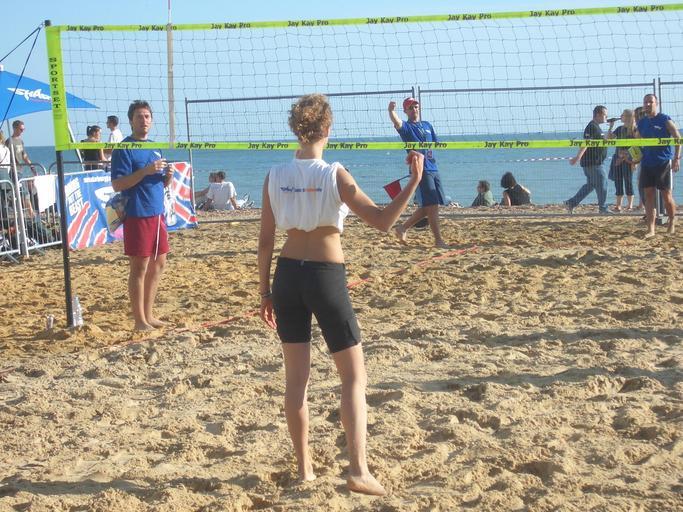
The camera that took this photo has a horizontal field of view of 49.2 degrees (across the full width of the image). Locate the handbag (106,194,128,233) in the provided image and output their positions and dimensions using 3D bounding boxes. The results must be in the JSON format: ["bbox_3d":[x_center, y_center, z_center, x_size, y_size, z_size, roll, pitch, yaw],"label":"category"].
[{"bbox_3d":[-1.758,-0.348,5.957,0.213,0.265,0.138,12,6,17],"label":"handbag"}]

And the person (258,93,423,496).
[{"bbox_3d":[-0.102,0.196,4.175,0.905,2.171,0.549,5,11,26],"label":"person"}]

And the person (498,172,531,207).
[{"bbox_3d":[3.209,-1.242,13.723,0.504,0.554,1.421,2,11,11],"label":"person"}]

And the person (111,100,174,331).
[{"bbox_3d":[-1.590,-0.121,6.073,0.464,1.493,0.434,-3,10,-13],"label":"person"}]
